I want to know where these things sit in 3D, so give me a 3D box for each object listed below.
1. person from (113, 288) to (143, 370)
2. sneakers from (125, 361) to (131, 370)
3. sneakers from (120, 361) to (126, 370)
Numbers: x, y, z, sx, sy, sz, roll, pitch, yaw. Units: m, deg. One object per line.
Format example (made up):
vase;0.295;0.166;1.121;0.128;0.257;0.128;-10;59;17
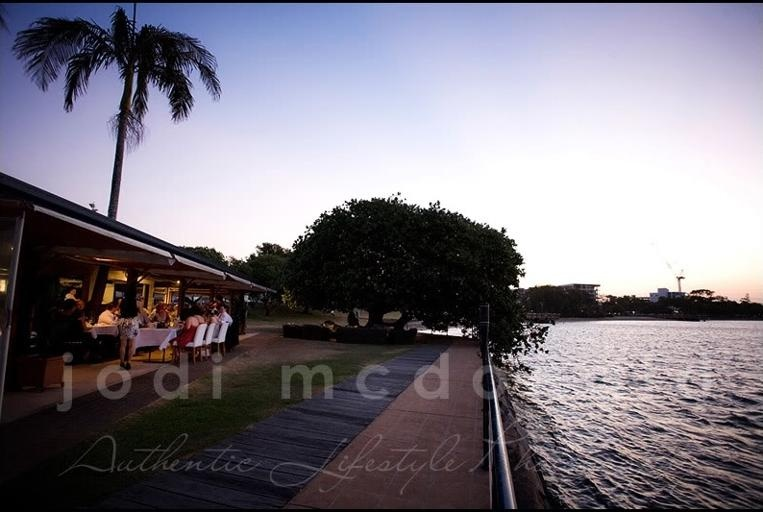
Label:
person;-9.221;2.628;16.178;0.675;2.878;1.504;4;-9;-28
sneakers;-9.055;3.908;15.867;0.198;0.256;0.427;5;-10;-29
sneakers;-9.251;3.915;15.918;0.216;0.168;0.478;17;-3;-44
